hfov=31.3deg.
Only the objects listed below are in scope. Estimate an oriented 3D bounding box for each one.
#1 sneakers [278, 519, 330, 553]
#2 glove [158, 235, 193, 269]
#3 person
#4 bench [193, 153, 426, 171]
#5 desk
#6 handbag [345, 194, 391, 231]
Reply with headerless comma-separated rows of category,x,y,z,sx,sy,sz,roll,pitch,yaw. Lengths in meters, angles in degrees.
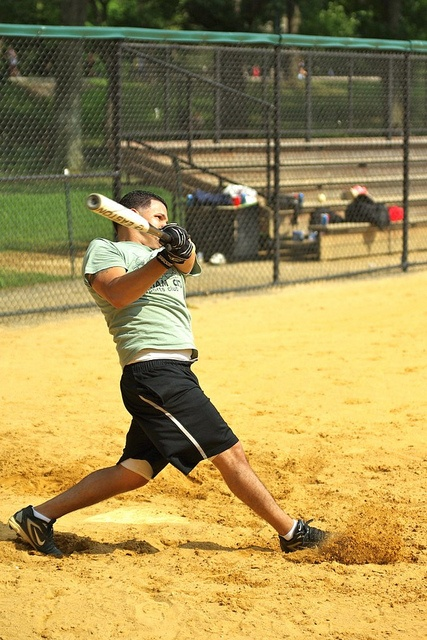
sneakers,0.339,0.909,3.263,0.280,0.113,0.089,-8,26,-18
glove,-0.149,-0.260,2.849,0.123,0.130,0.052,2,4,-3
person,-0.209,0.245,3.222,1.107,1.603,0.665,4,5,32
bench,1.347,-2.341,11.325,2.494,0.310,0.101,-3,15,-12
desk,0.151,-1.274,11.197,1.045,0.650,0.963,-1,7,-14
handbag,2.183,-1.515,10.863,0.461,0.183,0.599,-11,47,-31
